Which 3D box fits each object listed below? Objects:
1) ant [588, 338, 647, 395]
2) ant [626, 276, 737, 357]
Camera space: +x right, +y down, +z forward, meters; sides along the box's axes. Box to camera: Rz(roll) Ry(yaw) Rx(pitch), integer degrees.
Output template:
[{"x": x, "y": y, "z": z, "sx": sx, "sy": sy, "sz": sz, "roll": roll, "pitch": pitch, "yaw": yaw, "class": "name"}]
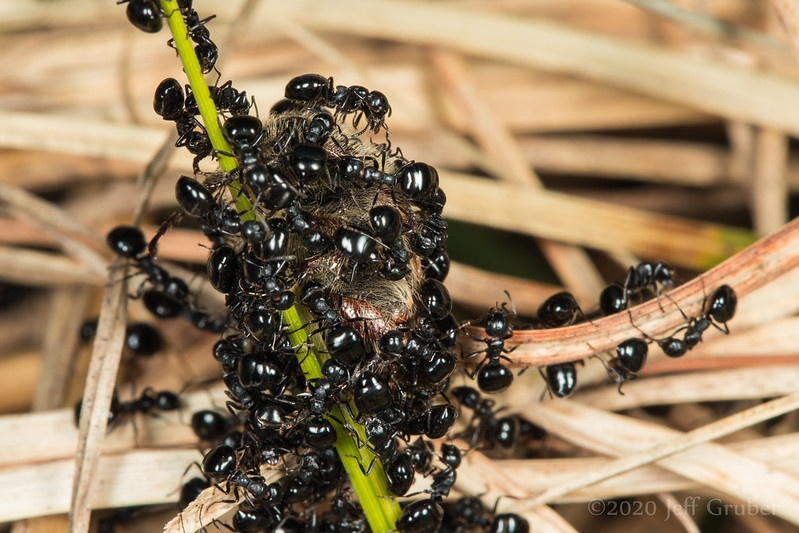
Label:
[{"x": 0.820, "y": 0.364, "z": 3.150, "sx": 0.195, "sy": 0.256, "sz": 0.089, "roll": 19, "pitch": 64, "yaw": 10, "class": "ant"}, {"x": 1.079, "y": 0.145, "z": 3.225, "sx": 0.300, "sy": 0.359, "sz": 0.108, "roll": 24, "pitch": 43, "yaw": -35, "class": "ant"}]
